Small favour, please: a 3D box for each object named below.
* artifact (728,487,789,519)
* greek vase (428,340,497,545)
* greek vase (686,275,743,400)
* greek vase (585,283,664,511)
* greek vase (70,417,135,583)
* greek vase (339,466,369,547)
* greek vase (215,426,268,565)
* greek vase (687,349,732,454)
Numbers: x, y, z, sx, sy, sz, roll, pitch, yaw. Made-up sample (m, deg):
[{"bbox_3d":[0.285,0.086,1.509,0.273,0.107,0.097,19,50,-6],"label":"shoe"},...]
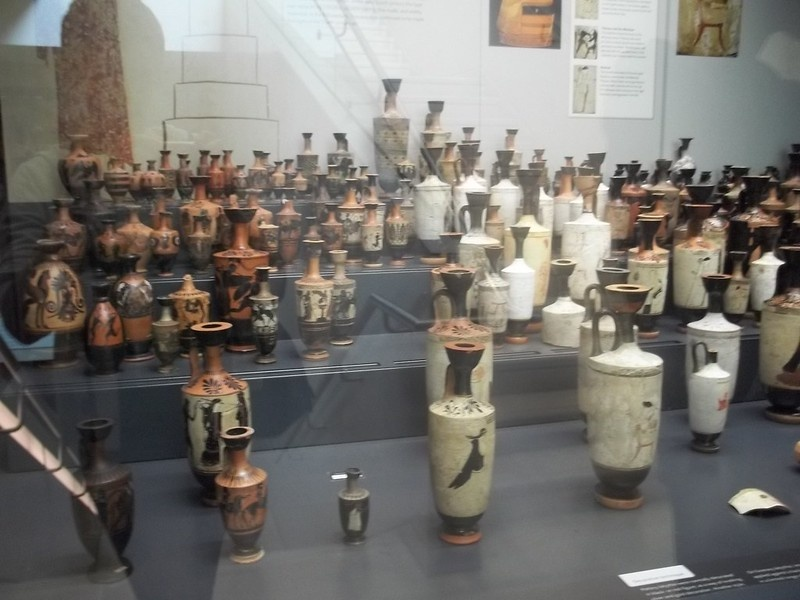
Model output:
[{"bbox_3d":[1.454,0.821,2.796,0.224,0.072,0.152,-5,13,-11],"label":"artifact"},{"bbox_3d":[0.224,0.499,2.493,0.231,0.687,0.151,-1,15,8],"label":"greek vase"},{"bbox_3d":[1.531,0.207,3.360,0.261,0.620,0.246,0,9,11],"label":"greek vase"},{"bbox_3d":[0.881,0.357,2.700,0.267,0.815,0.190,3,16,22],"label":"greek vase"},{"bbox_3d":[-1.036,0.681,2.389,0.185,0.495,0.276,-6,15,-14],"label":"greek vase"},{"bbox_3d":[-0.171,0.759,2.568,0.119,0.232,0.199,-4,14,-3],"label":"greek vase"},{"bbox_3d":[-0.558,0.711,2.475,0.205,0.440,0.193,-4,4,5],"label":"greek vase"},{"bbox_3d":[1.454,0.466,3.180,0.213,0.480,0.121,-6,15,-14],"label":"greek vase"}]
